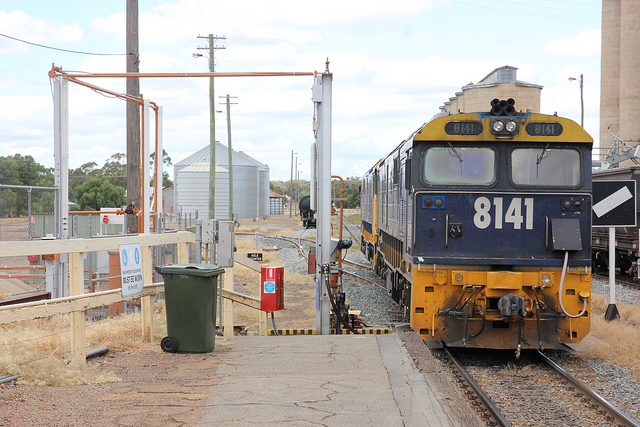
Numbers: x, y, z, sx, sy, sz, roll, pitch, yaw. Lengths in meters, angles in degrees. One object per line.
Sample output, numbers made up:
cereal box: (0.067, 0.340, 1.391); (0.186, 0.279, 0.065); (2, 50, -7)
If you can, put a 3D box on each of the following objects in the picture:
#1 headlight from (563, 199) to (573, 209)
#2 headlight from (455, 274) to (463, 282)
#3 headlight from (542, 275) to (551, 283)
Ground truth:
headlight: (4.849, -0.174, 12.495); (0.184, 0.174, 0.036); (-2, 1, -11)
headlight: (2.709, 1.265, 12.457); (0.126, 0.139, 0.030); (1, -3, -3)
headlight: (4.380, 1.283, 12.370); (0.118, 0.129, 0.030); (-2, -5, -1)
